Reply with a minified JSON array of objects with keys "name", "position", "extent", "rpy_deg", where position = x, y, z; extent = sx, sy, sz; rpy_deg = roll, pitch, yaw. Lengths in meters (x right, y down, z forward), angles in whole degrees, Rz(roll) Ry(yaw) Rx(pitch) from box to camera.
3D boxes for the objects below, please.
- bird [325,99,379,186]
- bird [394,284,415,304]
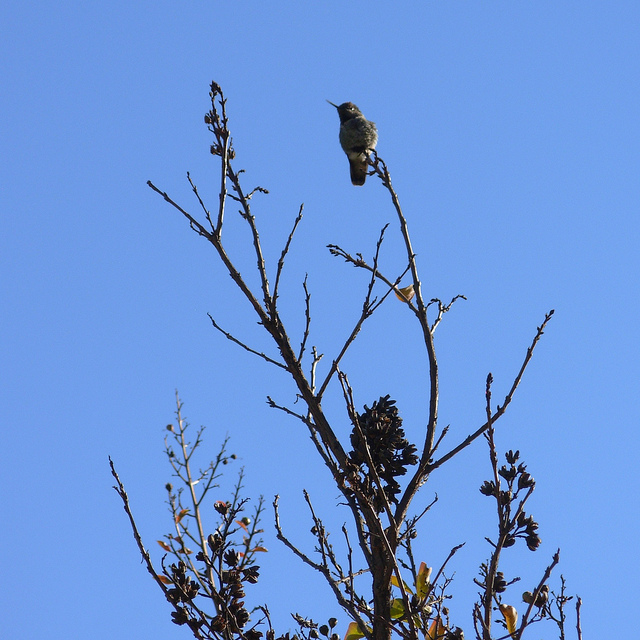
[{"name":"bird","position":[0.251,-1.432,14.150],"extent":[0.212,0.405,0.758],"rpy_deg":[4,-18,22]},{"name":"bird","position":[0.411,-0.122,8.609],"extent":[0.070,0.085,0.054],"rpy_deg":[22,-49,24]}]
